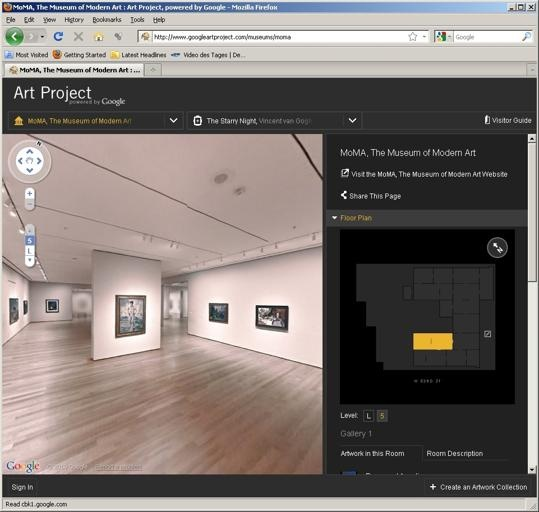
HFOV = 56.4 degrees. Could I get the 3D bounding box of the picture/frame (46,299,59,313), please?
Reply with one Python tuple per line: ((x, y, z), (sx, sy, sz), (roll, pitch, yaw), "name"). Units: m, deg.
((-7.129, 1.618, 16.504), (0.029, 0.477, 0.468), (-5, -4, 33), "picture/frame")
